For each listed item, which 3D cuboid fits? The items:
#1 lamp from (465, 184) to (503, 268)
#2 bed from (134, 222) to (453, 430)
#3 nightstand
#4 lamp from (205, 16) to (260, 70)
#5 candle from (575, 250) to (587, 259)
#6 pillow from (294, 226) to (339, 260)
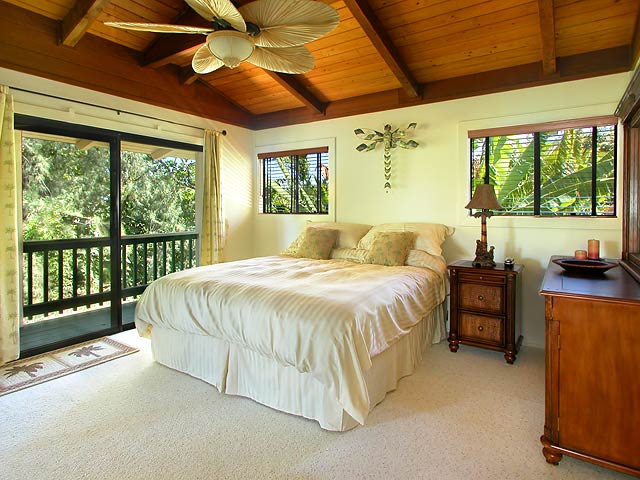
[{"bbox_3d":[1.724,-0.162,4.505,0.312,0.835,0.629,0,5,23],"label":"lamp"},{"bbox_3d":[-0.175,0.621,4.459,2.439,1.473,2.294,1,4,31],"label":"bed"},{"bbox_3d":[1.735,0.707,4.464,0.699,0.913,0.621,2,5,28],"label":"nightstand"},{"bbox_3d":[-0.673,-1.489,3.333,0.305,0.342,0.298,-1,9,-44],"label":"lamp"},{"bbox_3d":[2.300,0.135,3.770,0.087,0.067,0.090,1,-5,7],"label":"candle"},{"bbox_3d":[-0.087,0.047,5.157,0.531,0.609,0.162,0,42,1],"label":"pillow"}]
